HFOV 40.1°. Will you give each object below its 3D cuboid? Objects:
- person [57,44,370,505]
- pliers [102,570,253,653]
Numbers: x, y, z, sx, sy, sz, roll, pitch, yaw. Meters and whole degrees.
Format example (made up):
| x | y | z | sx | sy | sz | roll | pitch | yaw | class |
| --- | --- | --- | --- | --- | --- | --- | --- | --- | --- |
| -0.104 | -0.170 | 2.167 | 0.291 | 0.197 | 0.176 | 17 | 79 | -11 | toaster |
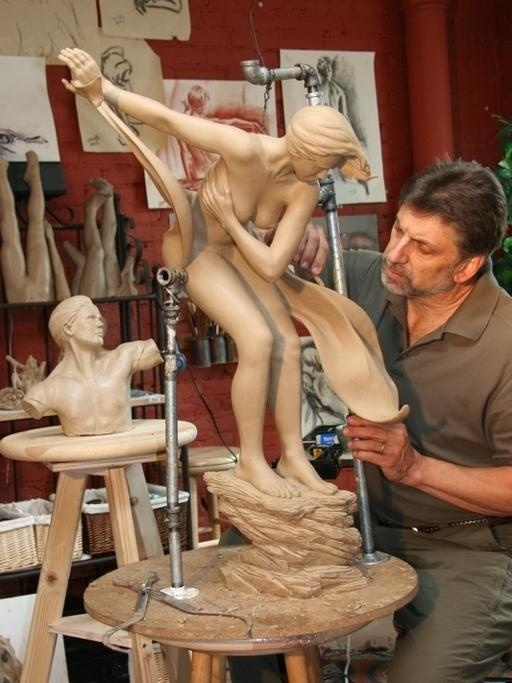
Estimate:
| x | y | z | sx | sy | sz | roll | pitch | yaw | class |
| --- | --- | --- | --- | --- | --- | --- | --- | --- | --- |
| -0.042 | -0.084 | 1.149 | 0.459 | 0.685 | 0.272 | -2 | 2 | -2 | person |
| -0.155 | 0.405 | 1.090 | 0.185 | 0.027 | 0.323 | -2 | 0 | -23 | pliers |
